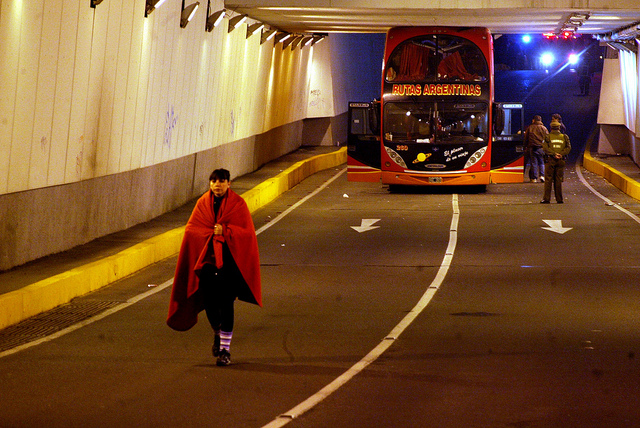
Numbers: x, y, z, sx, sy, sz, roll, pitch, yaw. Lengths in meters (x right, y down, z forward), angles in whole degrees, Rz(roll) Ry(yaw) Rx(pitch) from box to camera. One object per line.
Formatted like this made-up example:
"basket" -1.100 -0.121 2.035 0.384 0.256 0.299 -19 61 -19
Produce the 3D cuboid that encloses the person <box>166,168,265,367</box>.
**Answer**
"person" -1.269 0.588 7.179 1.004 2.264 0.754 7 11 36

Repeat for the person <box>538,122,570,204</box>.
"person" 8.575 -1.850 21.075 0.864 2.978 0.960 4 9 20

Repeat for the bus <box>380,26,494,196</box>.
"bus" 5.055 -4.590 24.921 4.675 6.696 0.763 2 9 5
